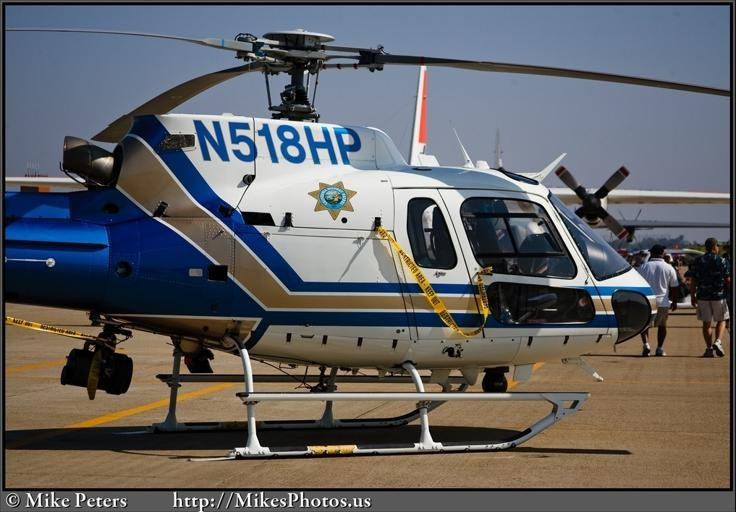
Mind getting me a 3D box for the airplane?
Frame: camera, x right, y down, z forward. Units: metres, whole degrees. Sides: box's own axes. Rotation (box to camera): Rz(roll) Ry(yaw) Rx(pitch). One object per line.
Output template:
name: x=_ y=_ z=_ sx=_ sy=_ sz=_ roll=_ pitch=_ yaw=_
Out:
airplane: x=-0.165 y=-0.160 z=13.663 sx=9.633 sy=3.065 sz=6.754 roll=0 pitch=2 yaw=-8
